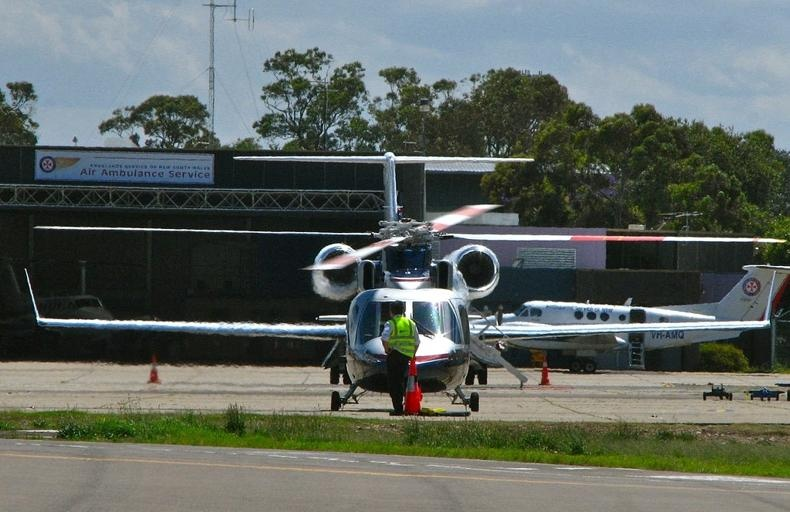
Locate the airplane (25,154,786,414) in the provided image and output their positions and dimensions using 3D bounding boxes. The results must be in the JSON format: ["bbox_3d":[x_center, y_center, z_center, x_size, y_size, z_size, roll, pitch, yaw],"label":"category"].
[{"bbox_3d":[1.216,1.150,81.870,29.028,11.979,12.510,1,-3,-9],"label":"airplane"}]
